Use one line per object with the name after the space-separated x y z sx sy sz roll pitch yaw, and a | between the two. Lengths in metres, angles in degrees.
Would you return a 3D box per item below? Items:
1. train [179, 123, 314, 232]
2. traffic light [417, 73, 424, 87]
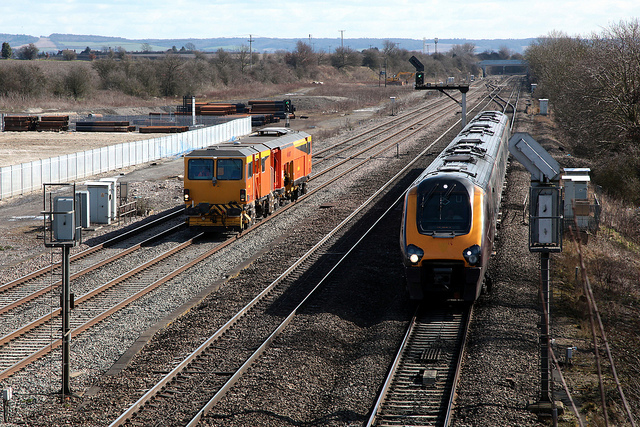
-3.423 -2.400 33.771 3.203 3.927 11.885 4 15 15 | train
7.575 -9.986 46.412 0.377 1.015 0.959 1 14 13 | traffic light
